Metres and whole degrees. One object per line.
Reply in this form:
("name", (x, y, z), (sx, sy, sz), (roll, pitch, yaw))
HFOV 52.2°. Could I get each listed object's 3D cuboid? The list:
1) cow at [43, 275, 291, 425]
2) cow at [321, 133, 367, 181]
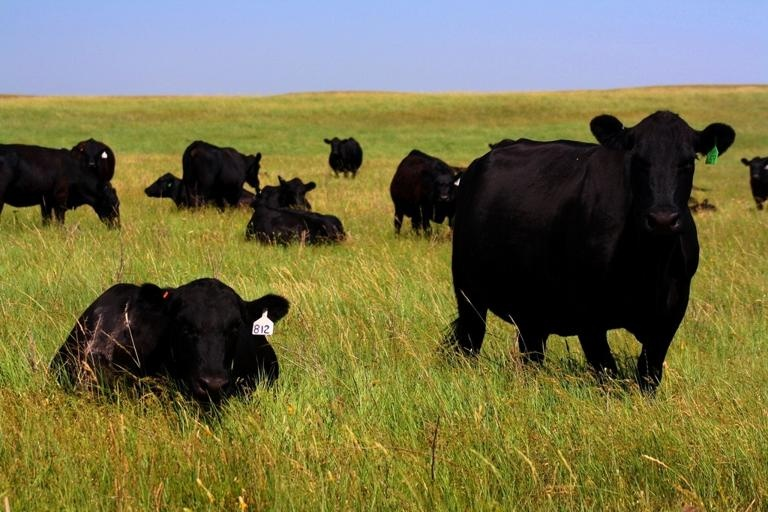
("cow", (-1.978, 0.750, 7.400), (2.057, 1.092, 1.029), (3, 5, 7))
("cow", (-2.025, -4.321, 35.000), (0.974, 1.743, 3.096), (0, 2, 2))
